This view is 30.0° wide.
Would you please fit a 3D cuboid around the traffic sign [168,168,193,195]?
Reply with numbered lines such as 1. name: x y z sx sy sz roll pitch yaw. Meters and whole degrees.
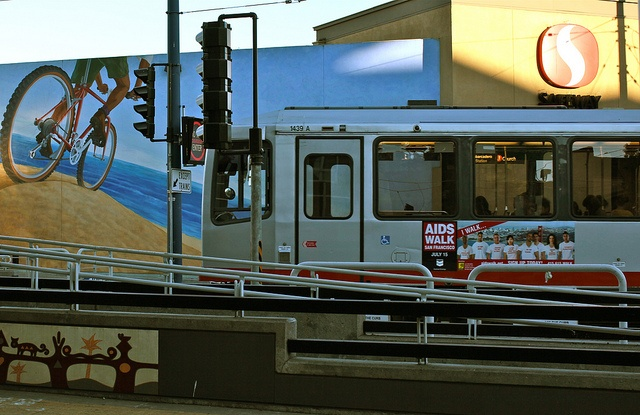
1. traffic sign: -3.687 -0.672 31.970 0.212 0.660 0.698 -2 -2 41

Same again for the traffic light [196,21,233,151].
1. traffic light: -2.606 -3.093 30.447 0.716 3.272 0.421 0 -2 -6
